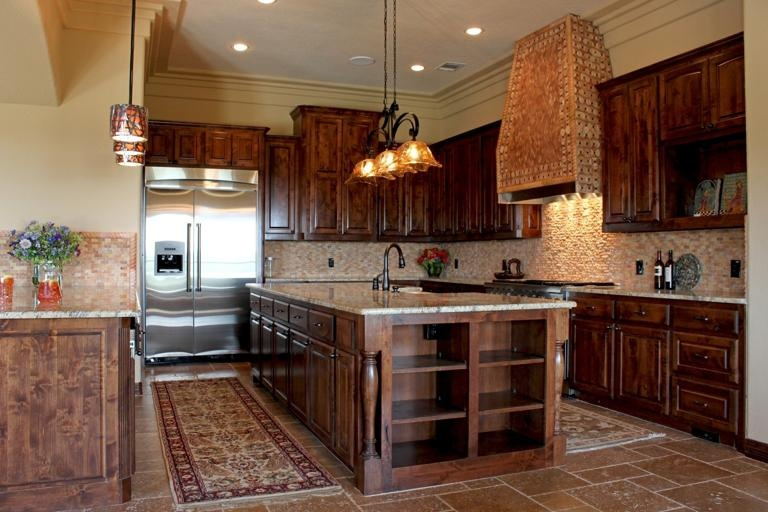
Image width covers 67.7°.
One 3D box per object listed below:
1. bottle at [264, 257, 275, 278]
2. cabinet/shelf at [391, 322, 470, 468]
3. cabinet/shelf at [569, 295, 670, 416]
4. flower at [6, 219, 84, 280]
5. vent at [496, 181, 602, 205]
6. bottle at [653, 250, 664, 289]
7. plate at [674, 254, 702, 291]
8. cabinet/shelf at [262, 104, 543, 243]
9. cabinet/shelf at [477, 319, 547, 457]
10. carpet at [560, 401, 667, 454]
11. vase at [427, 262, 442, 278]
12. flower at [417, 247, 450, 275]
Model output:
[{"bbox_3d":[-1.653,0.160,8.194,0.143,0.308,0.296,-1,5,-11],"label":"bottle"},{"bbox_3d":[0.226,1.009,4.173,0.752,0.878,0.518,-1,-1,-14],"label":"cabinet/shelf"},{"bbox_3d":[2.484,0.938,5.594,0.664,1.084,1.277,1,-1,-26],"label":"cabinet/shelf"},{"bbox_3d":[-2.723,-0.070,4.791,0.679,0.592,0.640,0,3,-10],"label":"flower"},{"bbox_3d":[1.815,-0.703,6.411,0.344,0.203,1.131,-3,5,-32],"label":"vent"},{"bbox_3d":[2.725,0.133,5.668,0.096,0.362,0.345,3,6,25],"label":"bottle"},{"bbox_3d":[2.946,0.168,5.526,0.072,0.434,0.371,4,-1,-30],"label":"plate"},{"bbox_3d":[0.113,-0.991,7.713,3.236,1.601,2.205,1,-2,-23],"label":"cabinet/shelf"},{"bbox_3d":[0.941,0.966,4.425,0.562,0.955,0.439,-1,6,-11],"label":"cabinet/shelf"},{"bbox_3d":[1.823,1.520,5.115,1.059,0.028,0.828,-2,5,-22],"label":"carpet"},{"bbox_3d":[0.773,0.220,8.743,0.241,0.214,0.226,-1,4,-22],"label":"vase"},{"bbox_3d":[0.760,0.073,8.857,0.489,0.418,0.451,0,1,8],"label":"flower"}]
